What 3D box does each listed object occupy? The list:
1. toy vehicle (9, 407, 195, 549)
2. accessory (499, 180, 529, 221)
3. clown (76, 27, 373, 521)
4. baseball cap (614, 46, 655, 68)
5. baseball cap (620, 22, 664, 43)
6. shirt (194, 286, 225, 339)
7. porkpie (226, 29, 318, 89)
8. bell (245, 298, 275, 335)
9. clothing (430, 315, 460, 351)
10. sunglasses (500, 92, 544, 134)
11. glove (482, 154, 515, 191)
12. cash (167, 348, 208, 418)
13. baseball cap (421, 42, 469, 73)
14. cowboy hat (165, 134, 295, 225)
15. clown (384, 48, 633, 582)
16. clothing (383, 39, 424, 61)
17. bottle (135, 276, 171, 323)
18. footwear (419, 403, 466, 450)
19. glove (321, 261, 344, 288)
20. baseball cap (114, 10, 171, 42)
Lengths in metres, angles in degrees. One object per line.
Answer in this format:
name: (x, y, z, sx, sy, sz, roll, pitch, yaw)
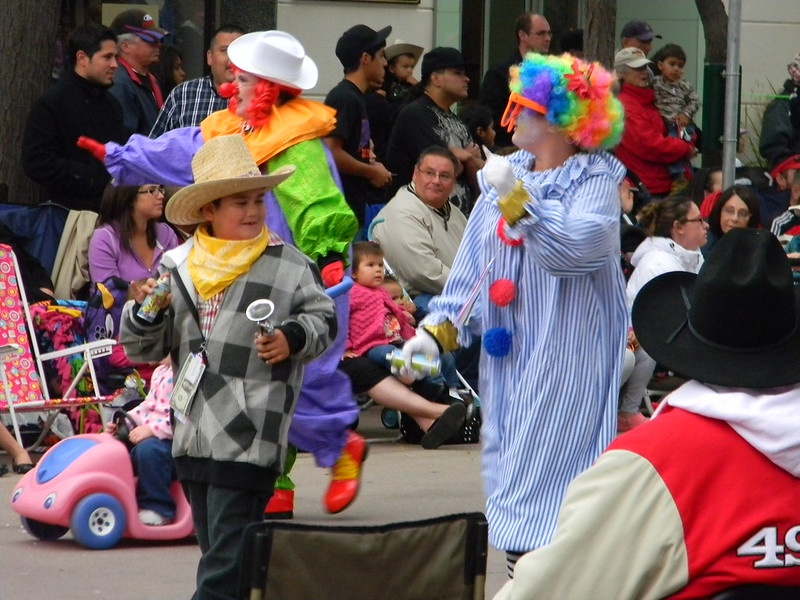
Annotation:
toy vehicle: (-1.549, 0.963, 7.086, 0.911, 0.397, 0.527, 1, 2, -29)
accessory: (0.438, -0.378, 5.280, 0.121, 0.139, 0.152, -28, 3, -3)
clown: (-0.775, -0.233, 6.846, 1.160, 2.703, 1.100, -1, 9, -7)
baseball cap: (1.831, -1.927, 10.938, 0.250, 0.118, 0.182, 3, 11, 24)
baseball cap: (2.057, -2.299, 11.798, 0.335, 0.175, 0.234, 7, 16, 12)
shirt: (-0.780, 0.047, 5.697, 0.136, 0.164, 0.174, 9, 7, -3)
porkpie: (-0.595, -1.149, 6.610, 0.438, 0.268, 0.262, 1, 8, -19)
bell: (-0.556, 0.057, 5.539, 0.117, 0.141, 0.275, 3, 7, -6)
clothing: (0.191, 0.149, 5.751, 0.144, 0.112, 0.109, -5, 7, -33)
sunglasses: (0.476, -0.763, 5.655, 0.182, 0.082, 0.136, 20, 16, -8)
glove: (0.384, -0.487, 5.379, 0.116, 0.139, 0.077, 10, 0, 14)
cash: (-0.864, 0.352, 5.657, 0.149, 0.287, 0.084, 11, 11, 43)
baseball cap: (0.308, -1.692, 9.679, 0.259, 0.133, 0.184, -4, 11, -4)
cowboy hat: (-0.707, -0.508, 5.727, 0.457, 0.380, 0.322, -10, 17, -37)
clown: (0.370, 0.062, 5.826, 0.993, 2.103, 0.938, 1, 3, -2)
clothing: (0.040, -2.138, 11.811, 0.313, 0.109, 0.315, -14, -8, 4)
bottle: (-0.994, -0.008, 5.686, 0.067, 0.197, 0.148, 10, 10, 35)
footwear: (0.276, 0.748, 8.262, 0.377, 0.155, 0.147, -40, 15, -14)
glove: (-0.315, -0.124, 6.542, 0.120, 0.111, 0.049, -2, -5, 9)
baseball cap: (-1.981, -2.069, 10.519, 0.389, 0.188, 0.256, -1, 17, 1)
